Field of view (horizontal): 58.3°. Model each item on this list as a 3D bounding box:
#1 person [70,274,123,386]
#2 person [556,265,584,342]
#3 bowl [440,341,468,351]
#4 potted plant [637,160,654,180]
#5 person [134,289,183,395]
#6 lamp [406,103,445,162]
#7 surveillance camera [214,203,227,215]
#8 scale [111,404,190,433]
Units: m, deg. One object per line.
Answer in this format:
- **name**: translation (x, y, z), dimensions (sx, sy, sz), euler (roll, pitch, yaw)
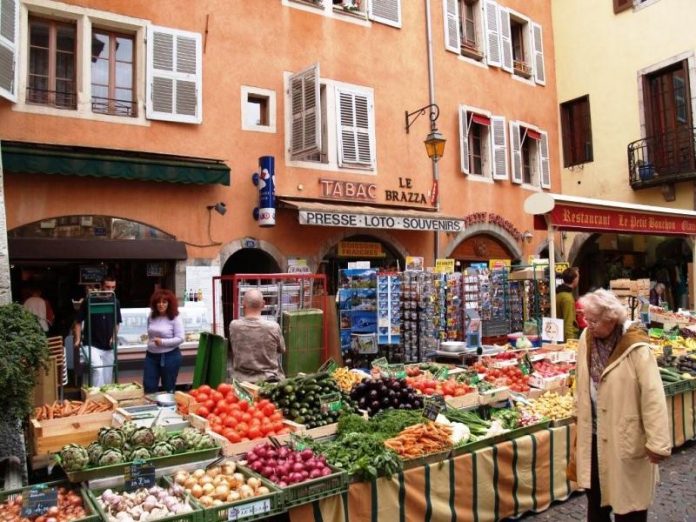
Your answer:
- **person**: translation (-3.433, 1.043, 8.607), dimensions (0.642, 1.803, 0.582), euler (0, 4, -39)
- **person**: translation (3.671, 0.695, 10.160), dimensions (0.339, 1.405, 0.443), euler (5, 5, 13)
- **bowl**: translation (1.572, 1.276, 9.255), dimensions (0.380, 0.135, 0.239), euler (-3, -2, 8)
- **potted plant**: translation (8.105, -2.445, 16.923), dimensions (0.363, 0.372, 0.385), euler (-1, 0, 11)
- **person**: translation (-2.563, 1.102, 8.608), dimensions (0.538, 1.394, 0.402), euler (-2, -3, -6)
- **lamp**: translation (1.635, -2.706, 13.233), dimensions (0.370, 1.257, 0.895), euler (0, -6, -42)
- **surveillance camera**: translation (-2.488, -1.032, 12.269), dimensions (0.205, 0.222, 0.218), euler (4, -3, 15)
- **scale**: translation (-1.861, 1.489, 5.858), dimensions (0.678, 0.196, 0.929), euler (-2, -3, -22)
